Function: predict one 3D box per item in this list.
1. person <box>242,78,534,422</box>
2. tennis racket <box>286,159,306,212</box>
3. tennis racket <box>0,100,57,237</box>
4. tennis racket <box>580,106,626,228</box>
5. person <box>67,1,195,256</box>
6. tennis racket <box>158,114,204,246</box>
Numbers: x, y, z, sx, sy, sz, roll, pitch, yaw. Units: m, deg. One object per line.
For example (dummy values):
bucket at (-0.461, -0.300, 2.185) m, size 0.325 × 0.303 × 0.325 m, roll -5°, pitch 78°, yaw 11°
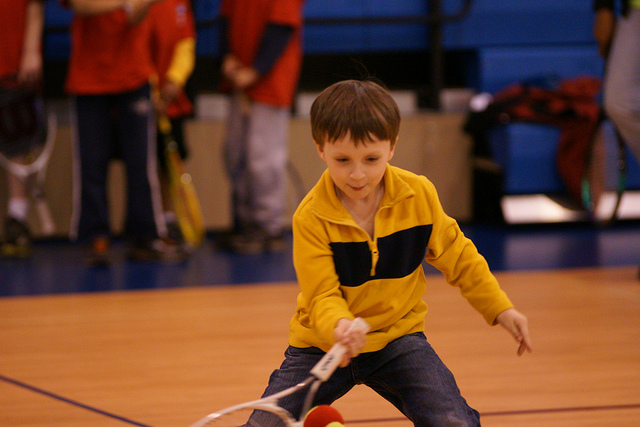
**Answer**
person at (0.106, 0.157, 2.507) m, size 0.727 × 1.127 × 0.852 m, roll 2°, pitch -9°, yaw -18°
tennis racket at (-0.119, -0.146, 4.084) m, size 0.043 × 0.196 × 0.139 m, roll -24°, pitch -15°, yaw 32°
tennis racket at (-0.927, -0.152, 2.719) m, size 0.174 × 0.432 × 0.114 m, roll -1°, pitch 9°, yaw -18°
tennis racket at (0.961, -0.161, 2.889) m, size 0.140 × 0.413 × 0.387 m, roll 4°, pitch 9°, yaw 17°
person at (-0.631, -0.270, 2.864) m, size 0.401 × 0.867 × 0.315 m, roll 0°, pitch 9°, yaw -12°
tennis racket at (-0.472, -0.108, 2.925) m, size 0.083 × 0.474 × 0.244 m, roll 4°, pitch 9°, yaw 15°
